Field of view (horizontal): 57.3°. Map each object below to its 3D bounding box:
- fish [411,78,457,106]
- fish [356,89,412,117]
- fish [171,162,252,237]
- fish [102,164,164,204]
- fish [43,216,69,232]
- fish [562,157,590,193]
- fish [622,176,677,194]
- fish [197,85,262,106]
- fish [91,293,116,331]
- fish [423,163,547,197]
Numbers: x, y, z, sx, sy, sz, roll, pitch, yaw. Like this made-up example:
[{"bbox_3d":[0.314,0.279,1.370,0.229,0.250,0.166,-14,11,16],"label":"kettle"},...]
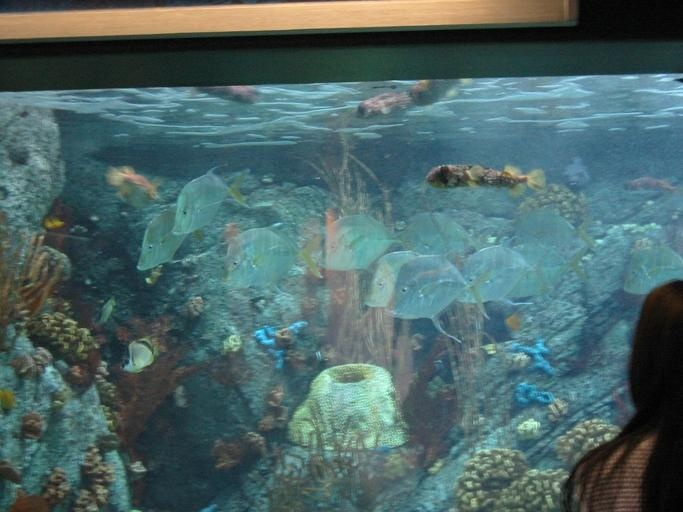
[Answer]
[{"bbox_3d":[1.047,-1.801,6.867,0.550,0.227,0.199,-4,2,31],"label":"fish"},{"bbox_3d":[0.468,-1.675,7.026,0.545,0.273,0.134,-19,-14,-1],"label":"fish"},{"bbox_3d":[-1.487,-0.602,6.970,0.914,0.472,0.265,-40,54,-23],"label":"fish"},{"bbox_3d":[-2.315,-0.771,6.930,0.594,0.354,0.161,17,-9,-7],"label":"fish"},{"bbox_3d":[-3.132,-0.350,6.792,0.171,0.153,0.079,2,2,-15],"label":"fish"},{"bbox_3d":[2.683,-0.921,7.090,0.276,0.299,0.072,-5,2,-1],"label":"fish"},{"bbox_3d":[3.529,-0.808,7.113,0.573,0.133,0.095,-4,1,-7],"label":"fish"},{"bbox_3d":[-1.207,-1.762,6.811,0.579,0.103,0.317,-9,-23,5],"label":"fish"},{"bbox_3d":[-2.591,0.604,6.841,0.258,0.356,0.018,-6,2,-8],"label":"fish"},{"bbox_3d":[1.477,-0.851,6.551,1.181,0.272,1.490,-4,1,19],"label":"fish"}]
